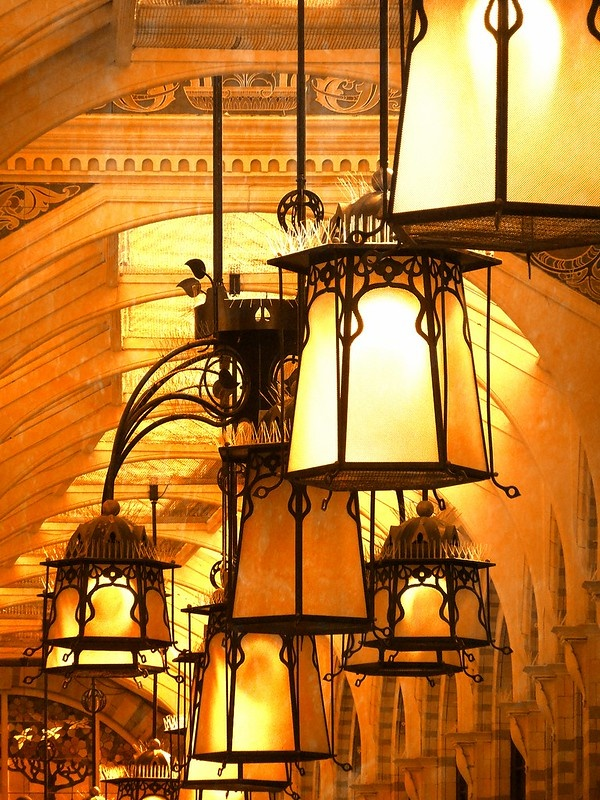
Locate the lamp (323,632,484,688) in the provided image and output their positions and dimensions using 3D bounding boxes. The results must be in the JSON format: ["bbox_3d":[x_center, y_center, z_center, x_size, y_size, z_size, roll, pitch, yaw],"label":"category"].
[{"bbox_3d":[0.386,0.976,8.602,0.527,0.167,0.598,-12,-9,41],"label":"lamp"}]

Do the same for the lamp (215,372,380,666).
[{"bbox_3d":[-0.108,0.421,7.318,0.600,1.133,0.633,-3,-5,24],"label":"lamp"}]

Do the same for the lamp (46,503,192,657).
[{"bbox_3d":[-0.716,0.690,8.729,0.504,0.936,0.529,3,-14,-7],"label":"lamp"}]

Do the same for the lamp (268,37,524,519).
[{"bbox_3d":[0.244,-0.149,6.317,0.570,0.705,0.584,-2,5,-28],"label":"lamp"}]

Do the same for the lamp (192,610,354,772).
[{"bbox_3d":[-0.074,1.047,8.071,0.451,0.611,0.535,1,-12,-11],"label":"lamp"}]

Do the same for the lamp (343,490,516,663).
[{"bbox_3d":[0.467,0.657,8.677,0.503,0.630,0.539,0,3,-40],"label":"lamp"}]
